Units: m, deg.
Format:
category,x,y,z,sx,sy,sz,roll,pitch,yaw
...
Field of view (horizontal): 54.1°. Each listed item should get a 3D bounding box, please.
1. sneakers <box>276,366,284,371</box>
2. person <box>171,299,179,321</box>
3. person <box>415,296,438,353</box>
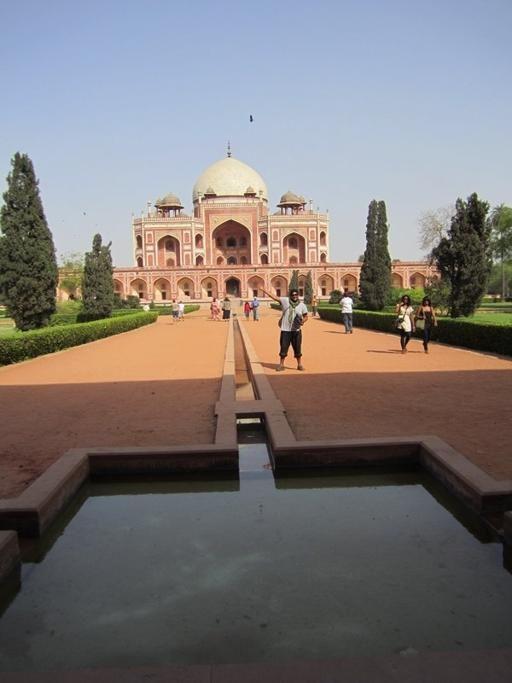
category,x,y,z,sx,sy,sz,roll,pitch,yaw
sneakers,0.308,0.372,6.657,0.048,0.052,0.136,0,1,12
person,-3.430,-1.317,21.643,0.257,0.893,1.247,-2,2,-8
person,2.840,-0.257,8.471,0.273,0.923,1.039,-1,2,20
